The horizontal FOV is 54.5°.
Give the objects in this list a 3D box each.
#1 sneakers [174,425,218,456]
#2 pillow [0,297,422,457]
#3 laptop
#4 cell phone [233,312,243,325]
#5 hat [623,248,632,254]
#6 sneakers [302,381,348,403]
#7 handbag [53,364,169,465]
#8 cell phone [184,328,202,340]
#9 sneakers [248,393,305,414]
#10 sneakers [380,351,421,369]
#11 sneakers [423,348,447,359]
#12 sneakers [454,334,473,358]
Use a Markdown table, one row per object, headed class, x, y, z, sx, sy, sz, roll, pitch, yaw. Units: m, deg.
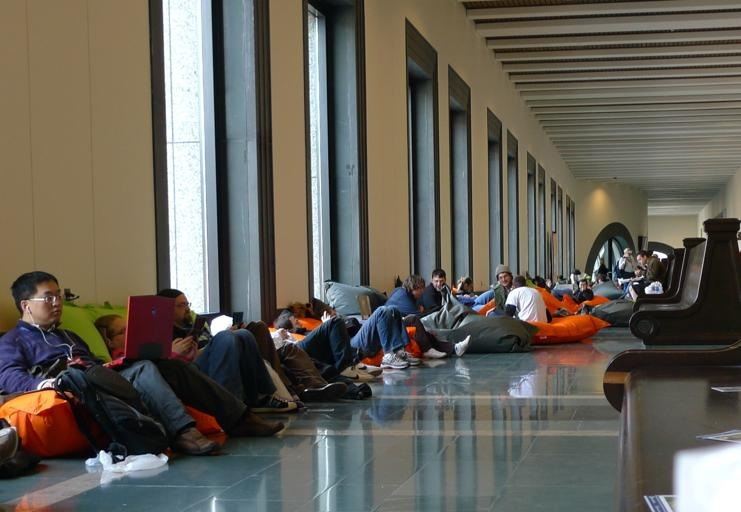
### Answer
| class | x | y | z | sx | sy | sz | roll | pitch | yaw |
| --- | --- | --- | --- | --- | --- | --- | --- | --- | --- |
| sneakers | -0.982 | 1.048 | 4.093 | 0.285 | 0.128 | 0.109 | 0 | -3 | 29 |
| pillow | -1.363 | 0.716 | 4.382 | 1.501 | 0.827 | 0.839 | -1 | -9 | 12 |
| laptop | -1.374 | 0.411 | 4.254 | 0.282 | 0.377 | 0.376 | 2 | -6 | 27 |
| cell phone | -1.114 | 0.523 | 5.983 | 0.040 | 0.090 | 0.085 | -3 | -4 | 18 |
| hat | 10.304 | -0.207 | 28.849 | 0.240 | 0.260 | 0.196 | 31 | 38 | 0 |
| sneakers | -0.347 | 1.024 | 5.404 | 0.364 | 0.162 | 0.144 | -5 | -10 | 6 |
| handbag | -1.431 | 0.852 | 3.987 | 0.584 | 0.486 | 0.216 | -1 | 2 | 2 |
| cell phone | -1.244 | 0.554 | 5.042 | 0.095 | 0.055 | 0.060 | -10 | 12 | -24 |
| sneakers | -0.669 | 1.034 | 5.084 | 0.351 | 0.157 | 0.137 | 1 | -7 | -5 |
| sneakers | 0.291 | 1.038 | 7.143 | 0.408 | 0.210 | 0.145 | -1 | -1 | 3 |
| sneakers | 0.689 | 1.073 | 7.883 | 0.281 | 0.138 | 0.100 | -4 | -2 | 2 |
| sneakers | 1.021 | 1.003 | 8.015 | 0.141 | 0.322 | 0.105 | 27 | 38 | -2 |
